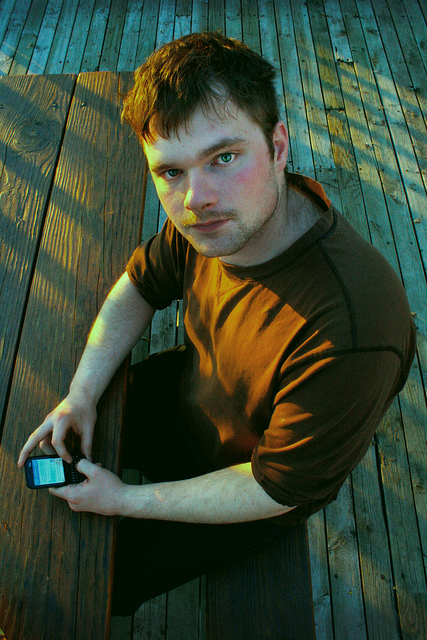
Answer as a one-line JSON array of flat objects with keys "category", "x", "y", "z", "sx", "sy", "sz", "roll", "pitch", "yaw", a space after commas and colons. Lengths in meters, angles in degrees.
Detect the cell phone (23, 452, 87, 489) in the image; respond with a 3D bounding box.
[{"category": "cell phone", "x": -0.417, "y": 0.392, "z": 1.447, "sx": 0.145, "sy": 0.150, "sz": 0.085, "roll": -33, "pitch": 62, "yaw": 29}]
